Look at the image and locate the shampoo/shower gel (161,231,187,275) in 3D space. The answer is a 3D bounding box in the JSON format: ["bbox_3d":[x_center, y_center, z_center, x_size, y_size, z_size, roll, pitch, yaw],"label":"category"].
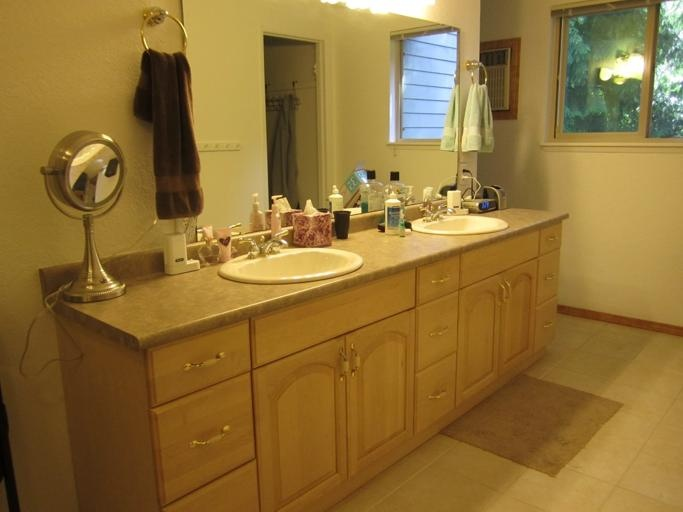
[{"bbox_3d":[-0.677,-0.012,2.297,0.101,0.164,0.063,-6,14,-11],"label":"shampoo/shower gel"}]

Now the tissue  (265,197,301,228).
[{"bbox_3d":[-0.266,-0.224,2.728,0.127,0.188,0.146,15,20,38],"label":"tissue "}]

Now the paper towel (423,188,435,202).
[{"bbox_3d":[0.540,-0.378,3.460,0.072,0.129,0.070,3,22,9],"label":"paper towel"}]

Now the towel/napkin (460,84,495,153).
[{"bbox_3d":[0.901,-0.918,3.717,0.152,0.458,0.242,6,16,35],"label":"towel/napkin"}]

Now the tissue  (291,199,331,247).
[{"bbox_3d":[-0.135,-0.153,2.708,0.147,0.214,0.152,-10,14,-39],"label":"tissue "}]

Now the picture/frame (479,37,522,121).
[{"bbox_3d":[1.224,-1.404,4.462,0.226,0.469,0.047,8,20,33],"label":"picture/frame"}]

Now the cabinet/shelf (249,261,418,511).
[{"bbox_3d":[-0.043,0.513,2.269,0.308,0.789,0.868,7,15,36],"label":"cabinet/shelf"}]

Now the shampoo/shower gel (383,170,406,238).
[{"bbox_3d":[0.287,-0.276,2.983,0.136,0.310,0.142,1,15,6],"label":"shampoo/shower gel"}]

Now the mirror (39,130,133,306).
[{"bbox_3d":[-0.895,-0.145,2.037,0.275,0.597,0.154,-10,15,-25],"label":"mirror"}]

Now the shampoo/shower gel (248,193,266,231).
[{"bbox_3d":[-0.389,-0.202,2.608,0.022,0.178,0.080,9,18,42],"label":"shampoo/shower gel"}]

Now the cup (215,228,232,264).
[{"bbox_3d":[-0.501,-0.048,2.442,0.066,0.154,0.035,-4,17,-16],"label":"cup"}]

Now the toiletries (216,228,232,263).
[{"bbox_3d":[-0.500,-0.049,2.431,0.064,0.143,0.045,-7,14,-12],"label":"toiletries"}]

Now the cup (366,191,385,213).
[{"bbox_3d":[0.195,-0.313,3.171,0.048,0.100,0.094,19,27,41],"label":"cup"}]

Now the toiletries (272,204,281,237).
[{"bbox_3d":[-0.301,-0.178,2.650,0.040,0.137,0.130,-4,13,0],"label":"toiletries"}]

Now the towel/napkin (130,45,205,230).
[{"bbox_3d":[-0.688,-0.489,2.262,0.240,0.659,0.149,-9,14,-21],"label":"towel/napkin"}]

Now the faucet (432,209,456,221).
[{"bbox_3d":[0.610,-0.244,3.324,0.083,0.050,0.132,-6,13,-7],"label":"faucet"}]

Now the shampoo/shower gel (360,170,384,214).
[{"bbox_3d":[0.171,-0.366,3.128,0.096,0.318,0.174,11,18,38],"label":"shampoo/shower gel"}]

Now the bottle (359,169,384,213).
[{"bbox_3d":[0.180,-0.377,3.168,0.135,0.240,0.077,-5,33,-1],"label":"bottle"}]
